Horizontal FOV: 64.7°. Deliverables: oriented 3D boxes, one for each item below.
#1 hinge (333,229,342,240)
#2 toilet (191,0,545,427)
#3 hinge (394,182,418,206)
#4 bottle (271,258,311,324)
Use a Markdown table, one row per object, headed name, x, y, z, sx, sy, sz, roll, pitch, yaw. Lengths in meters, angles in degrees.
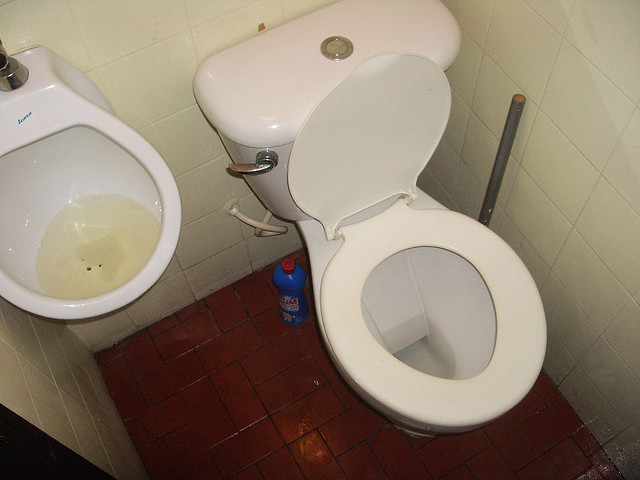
| name | x | y | z | sx | sy | sz | roll | pitch | yaw |
| --- | --- | --- | --- | --- | --- | --- | --- | --- | --- |
| hinge | 0.048 | -0.014 | 1.320 | 0.015 | 0.022 | 0.024 | -7 | 100 | 0 |
| toilet | 0.149 | -0.075 | 1.293 | 0.514 | 0.775 | 0.763 | -25 | 69 | -6 |
| hinge | 0.227 | -0.118 | 1.344 | 0.040 | 0.052 | 0.056 | -24 | 76 | 0 |
| bottle | -0.088 | 0.167 | 1.647 | 0.103 | 0.266 | 0.088 | 4 | 44 | 8 |
